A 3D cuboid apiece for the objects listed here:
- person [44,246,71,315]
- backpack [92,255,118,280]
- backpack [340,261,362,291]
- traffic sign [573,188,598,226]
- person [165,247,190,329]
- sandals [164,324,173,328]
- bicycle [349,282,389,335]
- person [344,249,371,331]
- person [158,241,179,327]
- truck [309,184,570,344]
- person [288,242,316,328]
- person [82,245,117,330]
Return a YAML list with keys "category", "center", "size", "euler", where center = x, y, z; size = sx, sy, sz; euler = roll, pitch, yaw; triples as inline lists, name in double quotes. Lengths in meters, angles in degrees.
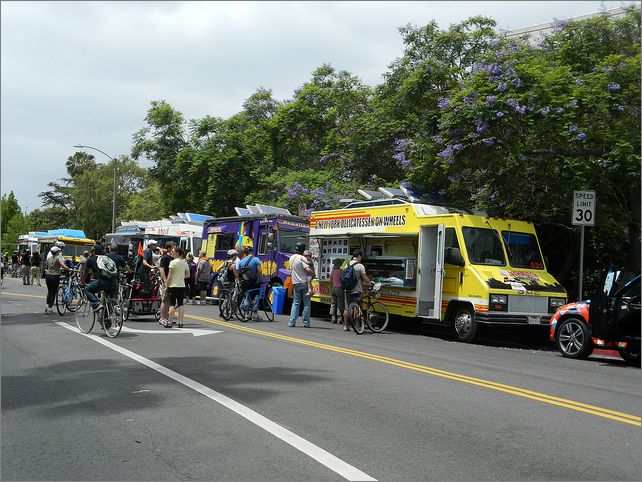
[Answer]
- category: "person"
  center: [-8.374, 1.165, 17.365]
  size: [0.724, 2.256, 0.624]
  euler: [1, -1, -35]
- category: "backpack"
  center: [-4.881, 0.627, 12.432]
  size: [0.432, 0.471, 0.512]
  euler: [3, -2, -35]
- category: "backpack"
  center: [0.781, 0.947, 14.846]
  size: [0.445, 0.795, 0.309]
  euler: [2, -1, -7]
- category: "traffic sign"
  center: [6.623, -0.825, 13.820]
  size: [0.747, 0.889, 0.187]
  euler: [2, -1, -15]
- category: "person"
  center: [-3.734, 1.185, 14.103]
  size: [0.540, 1.958, 0.418]
  euler: [3, -2, -29]
- category: "sandals"
  center: [-3.916, 2.193, 14.055]
  size: [0.084, 0.096, 0.233]
  euler: [6, -5, -38]
- category: "bicycle"
  center: [1.170, 2.032, 15.319]
  size: [0.804, 1.059, 1.668]
  euler: [-5, 1, 37]
- category: "person"
  center: [0.947, 1.305, 14.947]
  size: [0.639, 2.061, 1.019]
  euler: [0, 0, 36]
- category: "person"
  center: [-4.050, 1.112, 14.551]
  size: [0.637, 2.153, 0.713]
  euler: [-2, -5, 6]
- category: "truck"
  center: [3.411, 0.669, 16.669]
  size: [3.766, 3.776, 6.817]
  euler: [3, -4, -36]
- category: "person"
  center: [-0.553, 1.269, 15.651]
  size: [0.691, 2.428, 0.532]
  euler: [2, -4, -19]
- category: "person"
  center: [-5.055, 0.876, 12.468]
  size: [0.685, 2.196, 0.609]
  euler: [0, 0, -31]
